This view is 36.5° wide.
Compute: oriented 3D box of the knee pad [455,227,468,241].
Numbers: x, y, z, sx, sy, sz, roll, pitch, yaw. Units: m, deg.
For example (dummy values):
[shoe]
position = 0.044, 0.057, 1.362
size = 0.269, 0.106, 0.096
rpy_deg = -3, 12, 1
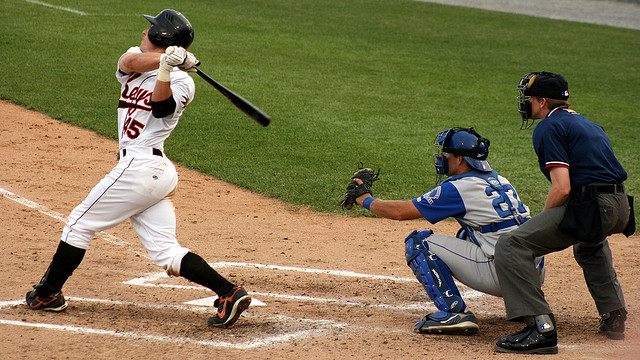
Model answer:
[knee pad]
position = 2.201, 0.840, 15.206
size = 0.206, 0.169, 0.064
rpy_deg = 25, 7, -32

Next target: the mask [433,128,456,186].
[mask]
position = 1.883, -0.360, 15.077
size = 0.434, 0.785, 0.404
rpy_deg = 0, 2, 1

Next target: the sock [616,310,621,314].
[sock]
position = 4.579, 2.022, 14.850
size = 0.061, 0.056, 0.026
rpy_deg = 4, 17, -8

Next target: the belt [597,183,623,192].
[belt]
position = 4.408, 0.119, 14.676
size = 0.409, 0.122, 0.074
rpy_deg = 0, 17, -19
